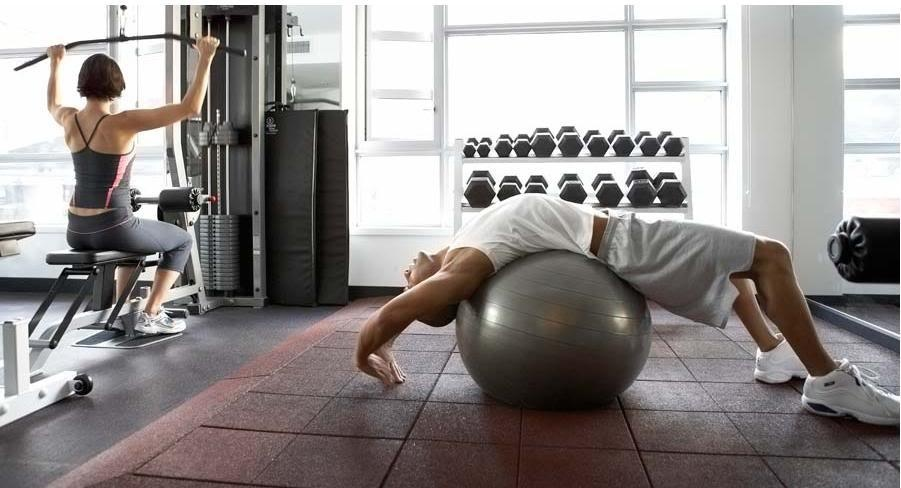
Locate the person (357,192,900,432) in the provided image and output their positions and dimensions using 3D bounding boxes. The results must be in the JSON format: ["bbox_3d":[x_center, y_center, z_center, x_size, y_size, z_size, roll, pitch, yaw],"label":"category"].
[{"bbox_3d":[1.082,0.202,3.310,2.322,0.674,1.505,3,3,5],"label":"person"}]

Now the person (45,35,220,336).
[{"bbox_3d":[-2.213,-0.365,4.093,0.993,2.119,0.456,-7,15,-24],"label":"person"}]

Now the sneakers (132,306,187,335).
[{"bbox_3d":[-2.173,0.593,4.292,0.372,0.166,0.140,1,-1,-38],"label":"sneakers"}]
